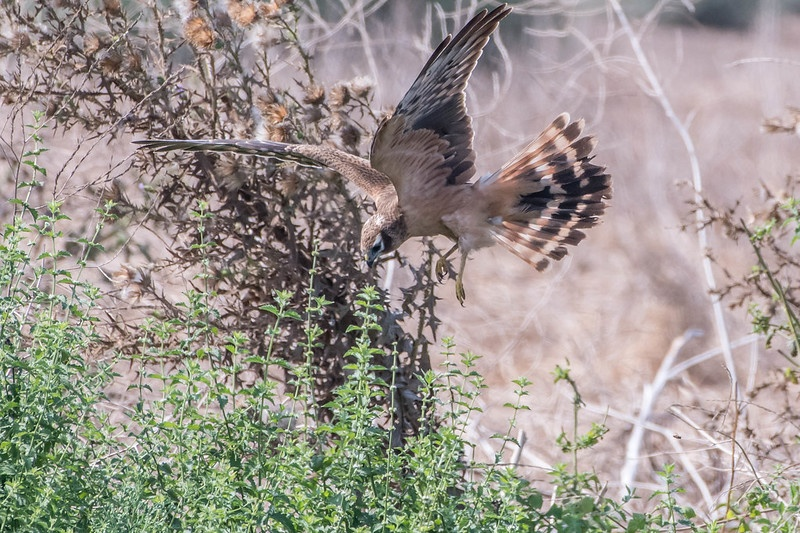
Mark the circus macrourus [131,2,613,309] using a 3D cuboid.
[{"bbox_3d":[-0.022,-0.623,4.918,0.985,1.778,0.859,-36,-78,3],"label":"circus macrourus"}]
